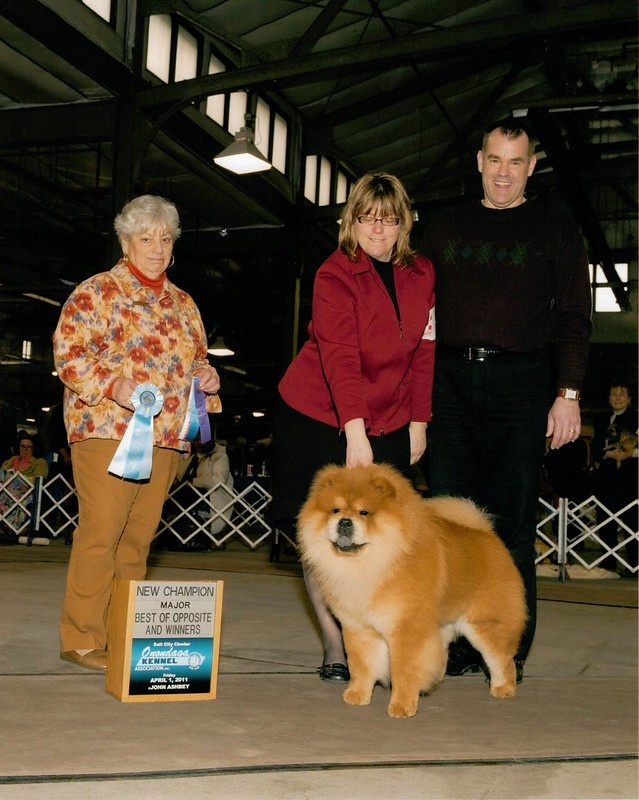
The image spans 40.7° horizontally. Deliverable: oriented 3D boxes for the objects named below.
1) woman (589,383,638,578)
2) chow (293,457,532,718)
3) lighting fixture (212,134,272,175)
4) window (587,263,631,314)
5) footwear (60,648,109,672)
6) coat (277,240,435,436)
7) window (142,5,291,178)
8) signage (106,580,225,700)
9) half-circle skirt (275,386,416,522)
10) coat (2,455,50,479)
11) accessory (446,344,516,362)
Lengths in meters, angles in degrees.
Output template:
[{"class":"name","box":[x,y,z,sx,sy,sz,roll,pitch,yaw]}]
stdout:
[{"class":"woman","box":[3.308,0.872,9.600,0.508,2.086,1.449,4,4,15]},{"class":"chow","box":[0.354,0.652,3.077,0.743,0.836,0.510,0,4,-37]},{"class":"lighting fixture","box":[-0.798,-2.612,9.515,0.612,0.392,0.523,-3,-9,34]},{"class":"window","box":[8.044,-3.103,23.937,1.020,1.320,1.486,3,3,17]},{"class":"footwear","box":[-0.896,1.006,3.331,0.224,0.082,0.073,-4,-8,27]},{"class":"coat","box":[0.143,-0.210,3.185,0.597,0.693,0.502,2,3,2]},{"class":"window","box":[-1.296,-4.147,11.796,0.459,1.264,3.420,4,4,22]},{"class":"signage","box":[-0.523,0.820,2.920,0.460,0.417,0.253,3,-11,-20]},{"class":"half-circle skirt","box":[0.081,0.199,3.110,0.489,0.525,0.289,6,-33,4]},{"class":"coat","box":[-3.870,0.894,11.406,0.646,0.204,0.340,3,-4,41]},{"class":"accessory","box":[0.611,-0.179,3.374,0.257,0.062,0.062,4,4,33]}]
